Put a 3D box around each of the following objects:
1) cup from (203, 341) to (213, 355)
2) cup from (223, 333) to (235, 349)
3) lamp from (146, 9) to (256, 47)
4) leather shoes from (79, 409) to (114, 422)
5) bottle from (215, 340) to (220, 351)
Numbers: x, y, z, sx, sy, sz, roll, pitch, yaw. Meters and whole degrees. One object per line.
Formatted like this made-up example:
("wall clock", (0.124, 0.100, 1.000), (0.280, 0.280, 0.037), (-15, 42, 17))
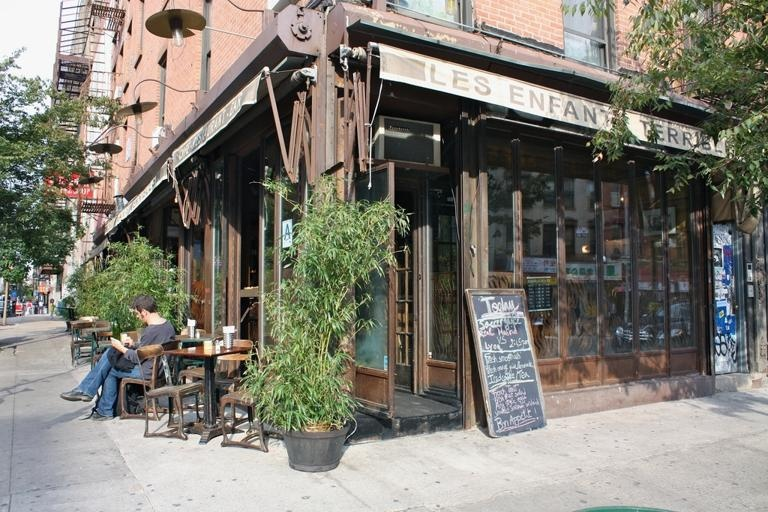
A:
("cup", (-2.976, 1.550, 11.617), (0.182, 0.206, 0.188), (0, -6, 0))
("cup", (-2.717, 1.501, 12.132), (0.209, 0.377, 0.215), (0, -7, 0))
("lamp", (-3.637, -4.394, 13.227), (0.935, 0.483, 1.625), (-4, 1, 38))
("leather shoes", (-5.275, 2.933, 12.680), (0.607, 0.303, 0.222), (-2, -10, 14))
("bottle", (-2.821, 1.521, 11.692), (0.085, 0.171, 0.226), (-2, 13, -12))
